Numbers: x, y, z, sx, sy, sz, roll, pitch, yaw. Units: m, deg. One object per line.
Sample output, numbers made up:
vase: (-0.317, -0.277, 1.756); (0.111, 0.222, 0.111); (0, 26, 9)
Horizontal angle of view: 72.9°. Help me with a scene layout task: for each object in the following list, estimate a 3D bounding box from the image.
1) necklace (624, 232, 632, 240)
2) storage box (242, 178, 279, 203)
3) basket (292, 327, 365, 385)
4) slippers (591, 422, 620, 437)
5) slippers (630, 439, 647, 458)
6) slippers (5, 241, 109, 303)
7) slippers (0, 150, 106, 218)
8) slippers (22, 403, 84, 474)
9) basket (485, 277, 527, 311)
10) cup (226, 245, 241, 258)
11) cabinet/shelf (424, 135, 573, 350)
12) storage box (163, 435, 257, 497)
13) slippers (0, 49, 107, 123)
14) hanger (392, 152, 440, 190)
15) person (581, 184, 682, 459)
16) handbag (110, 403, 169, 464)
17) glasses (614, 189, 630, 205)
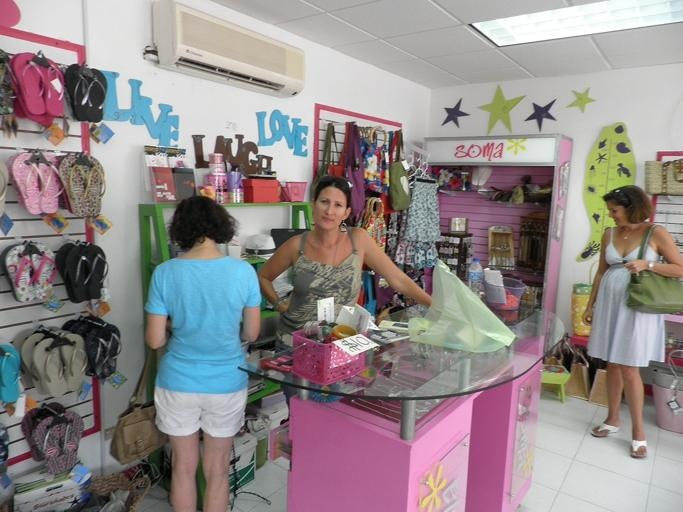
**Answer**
necklace: (2.450, -0.171, 3.956); (0.076, 0.027, 0.008); (-41, -9, -25)
storage box: (-0.683, -0.508, 3.902); (0.197, 0.216, 0.345); (1, 3, 39)
basket: (-0.065, 0.473, 2.176); (0.348, 0.169, 0.348); (2, -2, 0)
slippers: (2.397, 1.559, 4.192); (0.233, 0.087, 0.113); (-1, 1, -19)
slippers: (2.506, 1.620, 3.903); (0.089, 0.068, 0.174); (-5, -3, 18)
slippers: (-1.830, 0.116, 2.971); (0.555, 0.461, 0.189); (-9, 15, -35)
slippers: (-1.764, -0.447, 2.896); (0.432, 0.413, 0.124); (-3, 9, -36)
slippers: (-1.916, 1.224, 3.084); (0.326, 0.481, 0.204); (-10, 16, -39)
basket: (1.078, 0.253, 3.039); (0.219, 0.132, 0.220); (-3, 0, 42)
cup: (-0.840, -0.035, 3.581); (0.089, 0.087, 0.086); (2, 7, 0)
cabinet/shelf: (1.603, -0.114, 5.450); (1.581, 2.460, 0.642); (6, -8, 16)
storage box: (-0.960, 1.496, 3.549); (0.481, 0.357, 0.481); (-3, -5, 36)
slippers: (-1.755, -1.024, 2.829); (0.118, 0.452, 0.399); (-2, 3, 43)
hanger: (0.839, -0.929, 5.303); (0.435, 0.557, 0.224); (-21, 20, -35)
person: (2.440, 0.527, 3.991); (0.492, 2.225, 0.697); (-11, 17, -41)
handbag: (-1.373, 1.162, 3.132); (0.170, 0.367, 0.398); (-4, 2, 30)
glasses: (2.323, -0.484, 3.832); (0.081, 0.085, 0.106); (33, 11, 22)
